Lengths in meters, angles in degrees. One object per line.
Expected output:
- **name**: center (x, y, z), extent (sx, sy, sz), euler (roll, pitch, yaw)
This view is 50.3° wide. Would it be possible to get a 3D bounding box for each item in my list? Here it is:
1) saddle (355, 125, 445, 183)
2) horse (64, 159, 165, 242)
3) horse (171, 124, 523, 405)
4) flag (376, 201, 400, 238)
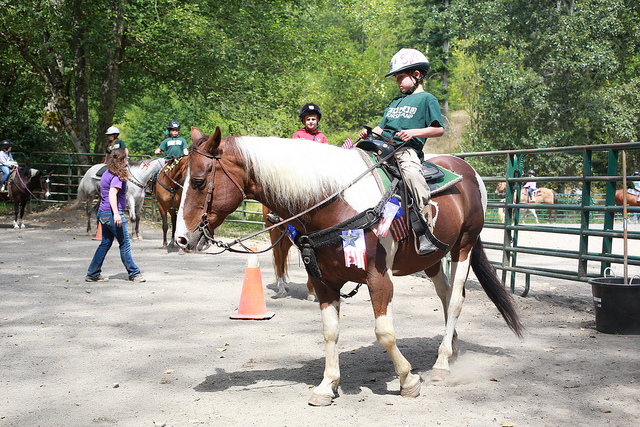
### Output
- **saddle**: center (1.327, -1.019, 11.687), extent (0.473, 1.093, 2.193), euler (1, 0, -23)
- **horse**: center (-6.400, -0.617, 21.731), extent (4.420, 2.846, 0.973), euler (6, 2, 26)
- **horse**: center (0.831, 0.816, 12.058), extent (7.131, 4.891, 1.812), euler (-1, -6, -30)
- **flag**: center (1.101, 0.104, 11.150), extent (0.313, 0.096, 0.897), euler (3, 42, 19)
